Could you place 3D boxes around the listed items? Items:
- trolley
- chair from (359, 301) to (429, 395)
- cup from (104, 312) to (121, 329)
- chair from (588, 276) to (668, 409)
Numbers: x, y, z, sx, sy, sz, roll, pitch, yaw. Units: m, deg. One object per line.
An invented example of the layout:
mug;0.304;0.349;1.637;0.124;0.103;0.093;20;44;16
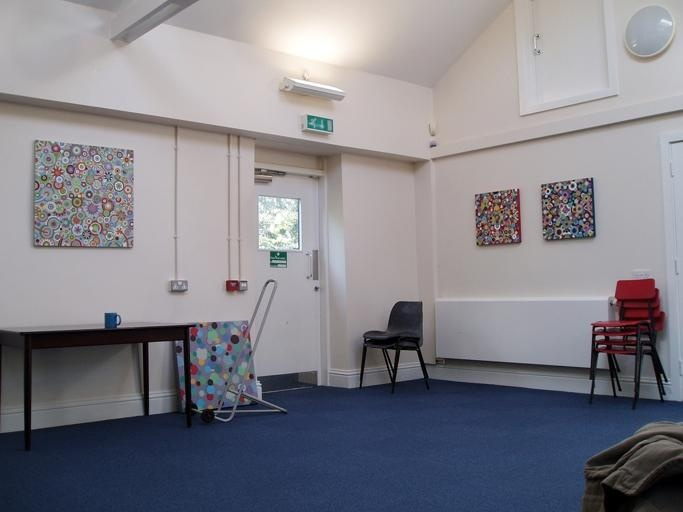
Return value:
trolley;-1.253;1.042;5.454;0.897;1.516;1.025;-7;-8;37
chair;0.623;1.110;6.161;0.815;1.092;0.857;1;-2;-22
cup;-1.990;0.548;4.244;0.178;0.176;0.114;2;-5;-36
chair;2.934;0.865;5.150;0.853;1.285;0.644;2;-2;-41
